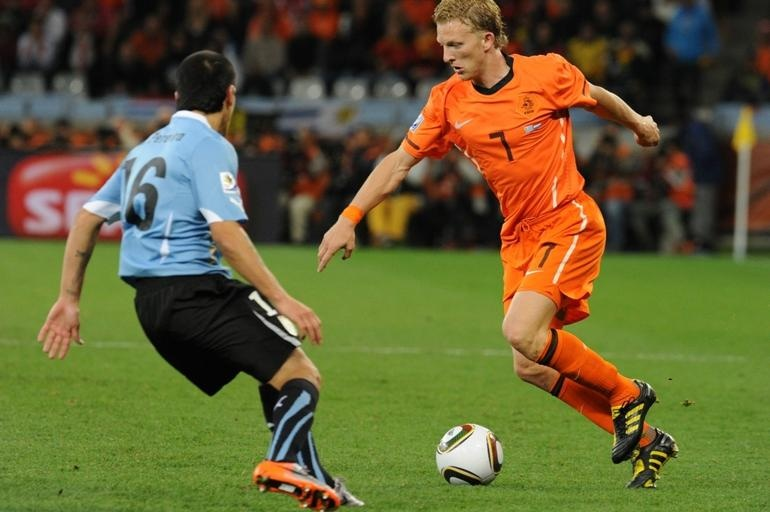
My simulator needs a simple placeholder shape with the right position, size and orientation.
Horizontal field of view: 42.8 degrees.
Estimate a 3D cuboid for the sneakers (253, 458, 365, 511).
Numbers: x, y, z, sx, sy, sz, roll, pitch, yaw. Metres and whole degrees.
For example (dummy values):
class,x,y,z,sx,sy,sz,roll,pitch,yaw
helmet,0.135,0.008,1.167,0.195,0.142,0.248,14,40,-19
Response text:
class,x,y,z,sx,sy,sz,roll,pitch,yaw
sneakers,-0.546,1.595,6.811,0.460,0.156,0.233,24,29,-9
